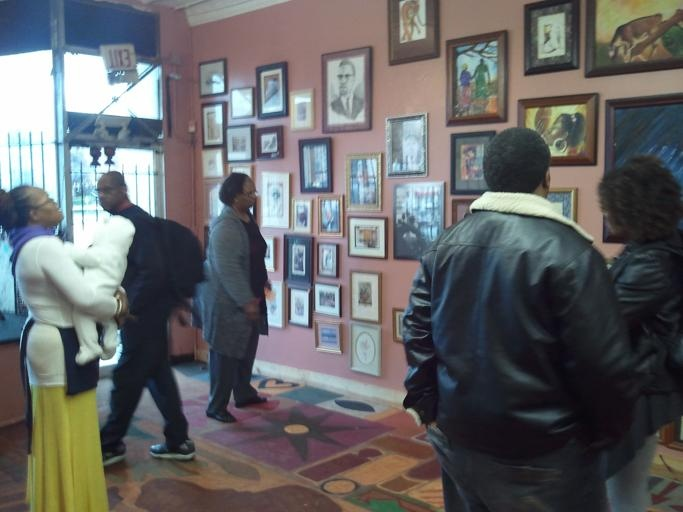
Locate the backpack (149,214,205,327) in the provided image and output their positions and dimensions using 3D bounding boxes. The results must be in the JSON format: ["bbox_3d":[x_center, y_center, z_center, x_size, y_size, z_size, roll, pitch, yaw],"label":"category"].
[{"bbox_3d":[-1.077,0.046,4.046,0.206,0.557,0.412,-5,-2,-17],"label":"backpack"}]

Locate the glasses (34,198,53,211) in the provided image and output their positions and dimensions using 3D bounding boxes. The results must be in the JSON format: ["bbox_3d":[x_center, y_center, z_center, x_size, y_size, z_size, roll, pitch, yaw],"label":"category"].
[{"bbox_3d":[-1.589,-0.270,3.248,0.045,0.014,0.061,-25,14,9],"label":"glasses"}]

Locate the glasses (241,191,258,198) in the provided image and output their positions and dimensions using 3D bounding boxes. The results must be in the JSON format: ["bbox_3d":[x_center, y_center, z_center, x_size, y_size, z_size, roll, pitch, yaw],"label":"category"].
[{"bbox_3d":[-0.731,-0.483,4.787,0.090,0.029,0.096,4,4,27],"label":"glasses"}]

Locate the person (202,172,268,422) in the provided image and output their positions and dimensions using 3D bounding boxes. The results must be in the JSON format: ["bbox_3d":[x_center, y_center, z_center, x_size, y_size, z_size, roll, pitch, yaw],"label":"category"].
[{"bbox_3d":[-0.830,0.336,4.832,0.551,1.957,0.458,-4,8,-28],"label":"person"}]
